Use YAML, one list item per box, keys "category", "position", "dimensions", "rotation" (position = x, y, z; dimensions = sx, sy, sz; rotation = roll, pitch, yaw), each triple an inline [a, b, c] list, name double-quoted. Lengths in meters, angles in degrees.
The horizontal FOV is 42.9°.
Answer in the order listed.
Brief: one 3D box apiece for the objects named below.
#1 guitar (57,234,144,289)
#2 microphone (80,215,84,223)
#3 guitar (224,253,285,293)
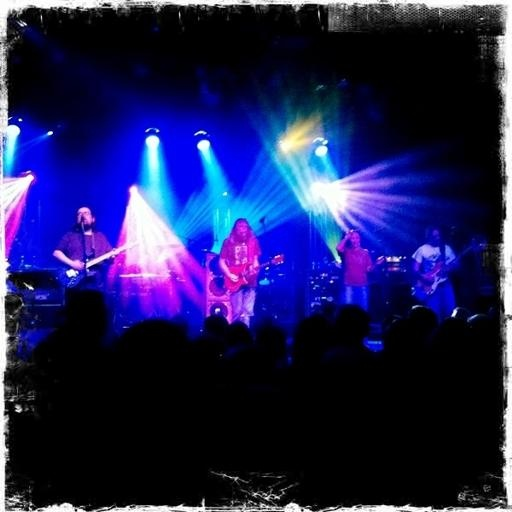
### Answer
- category: "guitar"
  position: [-1.693, 0.086, 6.834]
  dimensions: [0.668, 0.561, 0.435]
  rotation: [5, -16, -20]
- category: "microphone"
  position: [-1.802, -0.371, 6.778]
  dimensions: [0.047, 0.056, 0.089]
  rotation: [5, -16, -19]
- category: "guitar"
  position: [-0.061, 0.209, 7.175]
  dimensions: [0.730, 0.336, 0.089]
  rotation: [-25, -8, 22]
